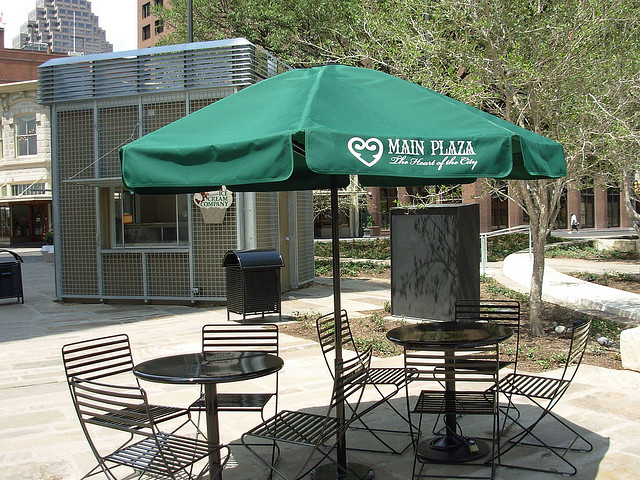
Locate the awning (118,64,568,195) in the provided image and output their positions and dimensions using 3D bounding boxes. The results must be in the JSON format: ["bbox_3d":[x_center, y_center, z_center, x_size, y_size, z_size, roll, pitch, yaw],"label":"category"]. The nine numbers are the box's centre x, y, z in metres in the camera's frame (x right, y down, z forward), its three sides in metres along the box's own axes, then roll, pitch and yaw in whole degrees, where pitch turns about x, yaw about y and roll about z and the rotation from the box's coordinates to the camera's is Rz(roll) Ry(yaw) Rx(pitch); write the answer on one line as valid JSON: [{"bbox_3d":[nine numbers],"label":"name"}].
[{"bbox_3d":[0.147,-1.169,6.340,4.190,1.294,2.036,-3,4,-10],"label":"awning"}]
